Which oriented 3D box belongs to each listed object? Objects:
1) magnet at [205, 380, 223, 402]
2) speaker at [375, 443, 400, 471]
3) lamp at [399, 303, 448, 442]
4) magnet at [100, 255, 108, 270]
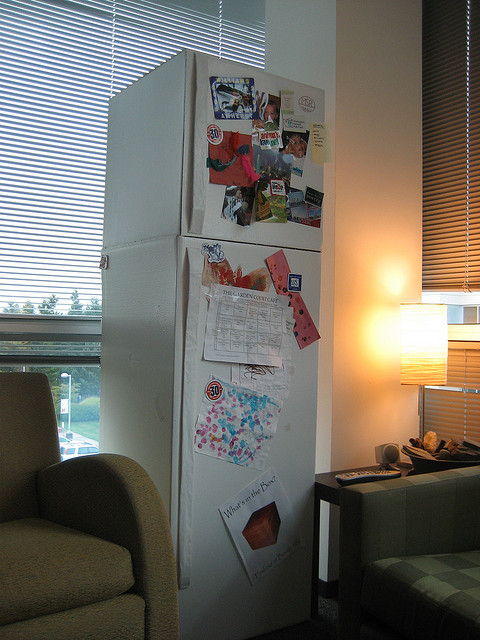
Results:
[{"bbox_3d":[-0.080,0.219,1.603,0.013,0.062,0.055,0,1,43],"label":"magnet"},{"bbox_3d":[0.596,0.550,2.081,0.087,0.116,0.098,1,-10,-15],"label":"speaker"},{"bbox_3d":[0.771,0.100,2.168,0.183,0.336,0.071,1,2,21],"label":"lamp"},{"bbox_3d":[-0.515,-0.221,1.954,0.012,0.072,0.057,2,-2,-25],"label":"magnet"}]
